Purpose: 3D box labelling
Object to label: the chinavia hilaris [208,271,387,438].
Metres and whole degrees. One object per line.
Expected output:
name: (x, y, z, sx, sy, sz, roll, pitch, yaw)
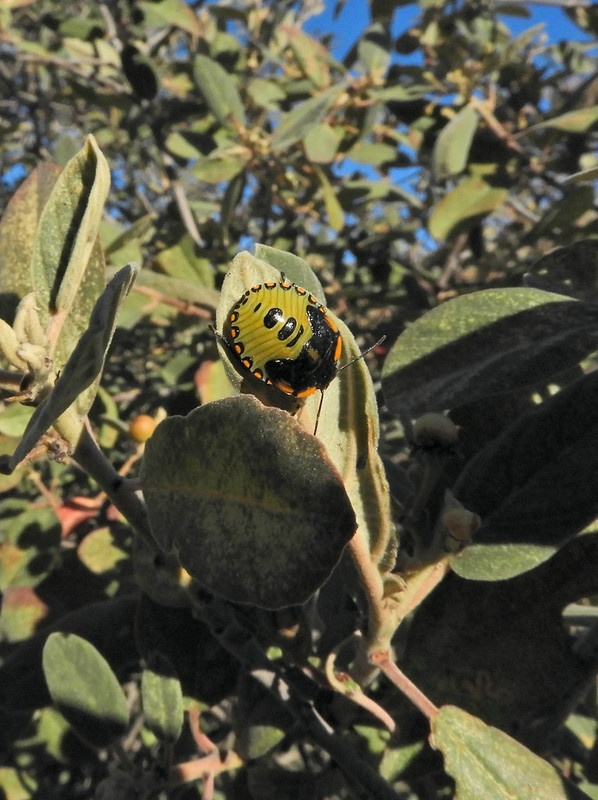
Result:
chinavia hilaris: (-0.018, -0.055, 0.874, 0.049, 0.151, 0.110, -4, 52, 50)
